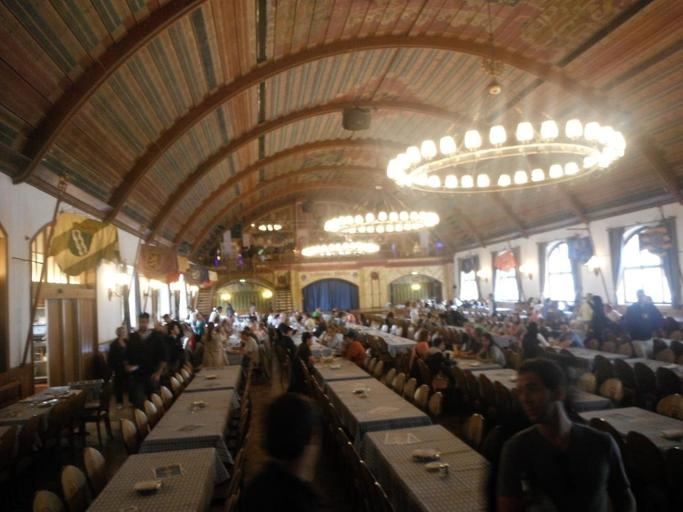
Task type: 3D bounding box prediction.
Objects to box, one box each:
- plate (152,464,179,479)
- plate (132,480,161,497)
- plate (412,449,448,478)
[{"bbox_3d":[-1.886,2.345,4.709,0.276,0.066,0.255,2,-9,-26],"label":"plate"},{"bbox_3d":[-1.953,2.340,4.375,0.176,0.069,0.136,0,-1,-13],"label":"plate"},{"bbox_3d":[1.008,2.264,4.765,0.469,0.140,0.386,-9,-11,40],"label":"plate"}]
